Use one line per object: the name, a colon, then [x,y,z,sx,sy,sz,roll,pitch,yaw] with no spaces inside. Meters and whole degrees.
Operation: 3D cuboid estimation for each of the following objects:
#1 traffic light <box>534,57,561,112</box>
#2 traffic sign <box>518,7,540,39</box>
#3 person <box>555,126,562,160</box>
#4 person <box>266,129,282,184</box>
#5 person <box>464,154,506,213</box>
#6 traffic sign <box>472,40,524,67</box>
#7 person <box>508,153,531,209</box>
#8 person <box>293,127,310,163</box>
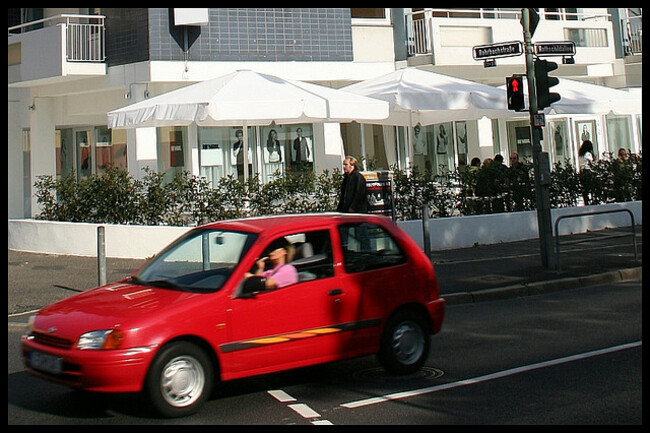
traffic light: [5.238,-3.054,14.070,0.534,1.115,1.900,2,8,20]
traffic sign: [4.741,-4.442,13.539,0.440,0.644,0.164,-1,-6,14]
person: [10.669,-3.384,27.196,0.481,1.344,0.141,-4,8,-26]
person: [-1.923,-2.501,22.712,0.662,1.577,0.249,-2,7,-10]
person: [4.883,-0.919,18.303,1.198,1.596,0.871,4,-6,-8]
traffic sign: [4.046,-3.749,13.866,1.044,0.510,0.758,2,8,20]
person: [5.981,-1.012,18.480,0.562,1.258,0.924,1,1,3]
person: [-0.871,-2.679,22.683,0.650,1.310,0.215,-2,7,-9]
